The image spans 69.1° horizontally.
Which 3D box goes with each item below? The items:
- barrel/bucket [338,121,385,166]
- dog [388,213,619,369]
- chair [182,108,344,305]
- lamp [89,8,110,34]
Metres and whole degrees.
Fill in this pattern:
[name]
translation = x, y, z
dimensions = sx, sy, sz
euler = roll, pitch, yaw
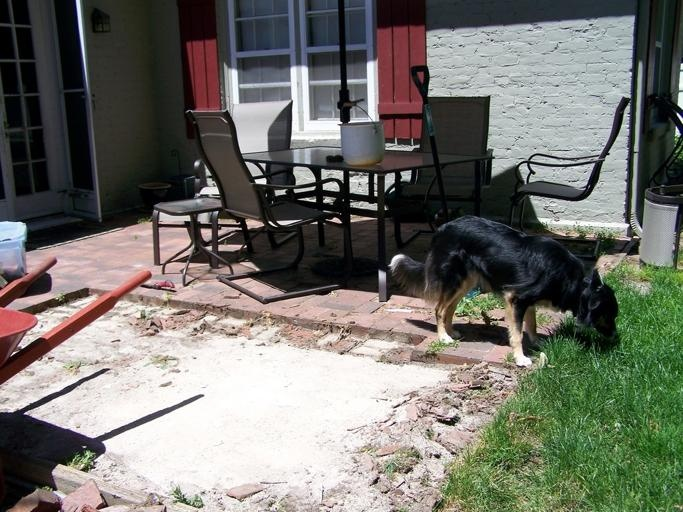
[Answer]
[barrel/bucket]
translation = 0.163, -0.850, 3.816
dimensions = 0.335, 0.329, 0.286
euler = -4, 19, 1
[dog]
translation = 0.952, 0.206, 2.943
dimensions = 1.454, 0.640, 0.529
euler = 12, 18, 42
[chair]
translation = -0.600, -0.447, 4.115
dimensions = 0.954, 1.477, 1.033
euler = -14, 21, -23
[lamp]
translation = -3.322, -3.212, 6.846
dimensions = 0.244, 0.323, 0.210
euler = -9, 20, -12
